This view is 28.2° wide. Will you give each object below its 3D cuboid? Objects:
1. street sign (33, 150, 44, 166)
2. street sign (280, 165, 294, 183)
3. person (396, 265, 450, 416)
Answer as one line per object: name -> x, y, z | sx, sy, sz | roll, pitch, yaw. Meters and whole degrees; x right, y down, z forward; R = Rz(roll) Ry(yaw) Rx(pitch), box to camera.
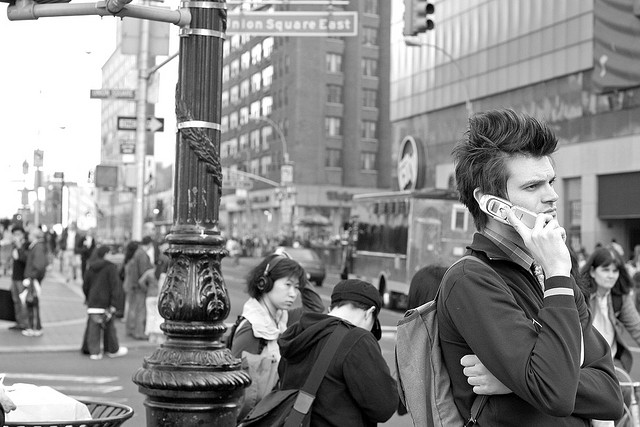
street sign -> -4.964, -0.955, 22.450 | 0.233, 0.320, 0.014 | -8, 11, -27
street sign -> -0.523, -0.608, 20.161 | 0.201, 0.266, 0.238 | -1, -4, 9
person -> 1.344, 1.845, 17.609 | 0.758, 2.209, 0.658 | -2, 2, -20
